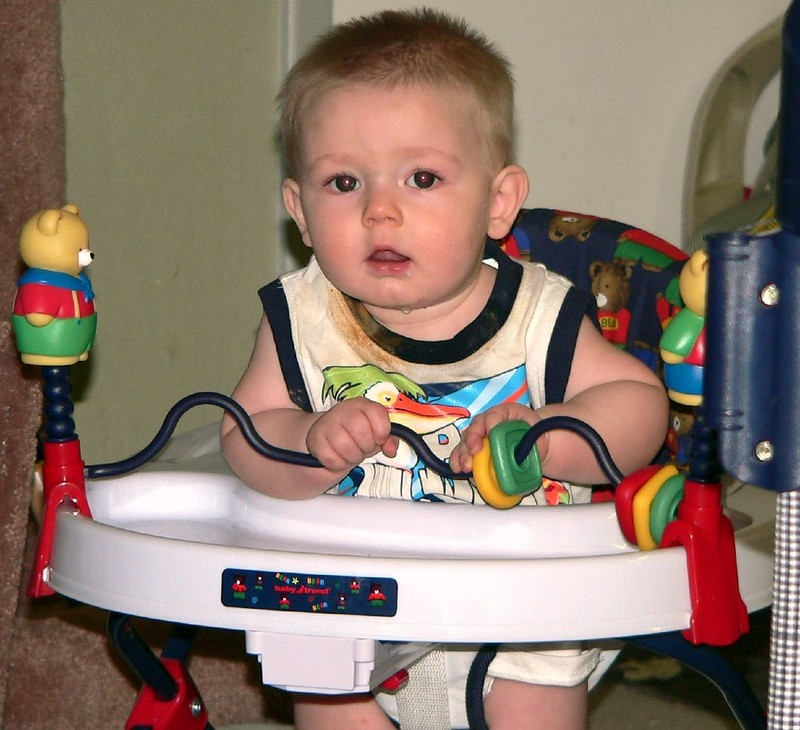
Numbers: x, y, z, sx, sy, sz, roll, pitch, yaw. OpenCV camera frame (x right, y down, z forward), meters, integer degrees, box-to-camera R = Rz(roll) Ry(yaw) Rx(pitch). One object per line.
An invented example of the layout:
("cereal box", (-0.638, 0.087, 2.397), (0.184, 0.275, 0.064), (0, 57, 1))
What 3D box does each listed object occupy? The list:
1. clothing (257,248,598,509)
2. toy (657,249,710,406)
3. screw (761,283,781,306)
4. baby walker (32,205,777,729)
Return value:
("clothing", (0.046, 0.016, 1.105), (0.349, 0.404, 0.214), (0, 9, 16))
("toy", (0.199, -0.017, 0.704), (0.030, 0.117, 0.150), (2, 12, 12))
("screw", (0.209, -0.039, 0.573), (0.002, 0.012, 0.010), (7, 1, 43))
("baby walker", (0.024, 0.160, 0.953), (0.497, 0.494, 0.541), (0, 0, 16))
